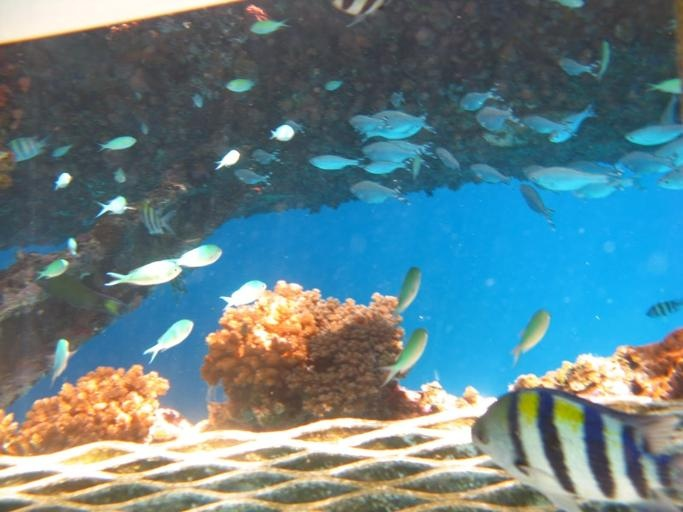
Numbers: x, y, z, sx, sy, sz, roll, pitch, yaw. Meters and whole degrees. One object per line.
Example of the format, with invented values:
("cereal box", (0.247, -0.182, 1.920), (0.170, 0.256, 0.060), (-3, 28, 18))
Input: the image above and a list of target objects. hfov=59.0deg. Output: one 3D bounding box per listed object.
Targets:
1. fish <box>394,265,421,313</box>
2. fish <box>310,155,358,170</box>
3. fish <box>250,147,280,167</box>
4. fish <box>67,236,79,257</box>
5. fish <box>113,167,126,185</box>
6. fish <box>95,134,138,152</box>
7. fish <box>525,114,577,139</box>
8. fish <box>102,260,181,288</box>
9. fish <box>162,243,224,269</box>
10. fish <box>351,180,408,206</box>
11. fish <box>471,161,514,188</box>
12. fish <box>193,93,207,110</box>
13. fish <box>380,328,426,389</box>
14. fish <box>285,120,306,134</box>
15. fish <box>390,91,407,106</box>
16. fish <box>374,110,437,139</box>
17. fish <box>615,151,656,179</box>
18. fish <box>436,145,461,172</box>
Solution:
("fish", (1.005, 0.454, 9.025), (0.260, 0.935, 0.238), (22, -22, 15))
("fish", (-0.148, -1.706, 10.627), (0.679, 0.249, 0.683), (-9, 4, 9))
("fish", (-1.693, -2.158, 12.994), (0.330, 0.160, 0.434), (-31, 19, -36))
("fish", (-5.084, -0.226, 11.271), (0.276, 0.216, 0.753), (-3, 20, -23))
("fish", (-4.542, -1.674, 12.386), (0.259, 0.323, 0.211), (-10, 6, 42))
("fish", (-4.348, -2.203, 11.526), (1.066, 0.163, 0.407), (-2, -7, 15))
("fish", (3.580, -2.272, 10.500), (0.996, 0.426, 0.320), (4, -1, 5))
("fish", (-2.885, 0.241, 9.001), (0.982, 0.389, 0.567), (-13, 4, -33))
("fish", (-2.347, -0.012, 9.565), (0.772, 0.349, 0.546), (-13, 4, -30))
("fish", (0.625, -1.181, 10.552), (0.820, 0.349, 0.361), (-7, 6, 39))
("fish", (2.646, -1.484, 10.763), (0.531, 0.321, 0.760), (-10, 4, 12))
("fish", (-2.754, -3.015, 11.611), (0.244, 0.271, 0.298), (-13, 4, -4))
("fish", (0.917, 1.325, 8.527), (0.708, 0.651, 0.309), (-13, 4, -10))
("fish", (-0.933, -2.673, 12.256), (0.331, 0.142, 0.523), (-2, -17, 20))
("fish", (1.106, -3.149, 12.042), (0.301, 0.266, 0.297), (-12, 4, 7))
("fish", (0.977, -2.277, 10.205), (0.885, 0.416, 0.314), (-9, 6, 24))
("fish", (5.149, -1.627, 10.376), (0.429, 0.316, 0.603), (-12, 4, -5))
("fish", (1.912, -1.855, 11.074), (0.357, 0.386, 0.816), (-25, 17, -5))
